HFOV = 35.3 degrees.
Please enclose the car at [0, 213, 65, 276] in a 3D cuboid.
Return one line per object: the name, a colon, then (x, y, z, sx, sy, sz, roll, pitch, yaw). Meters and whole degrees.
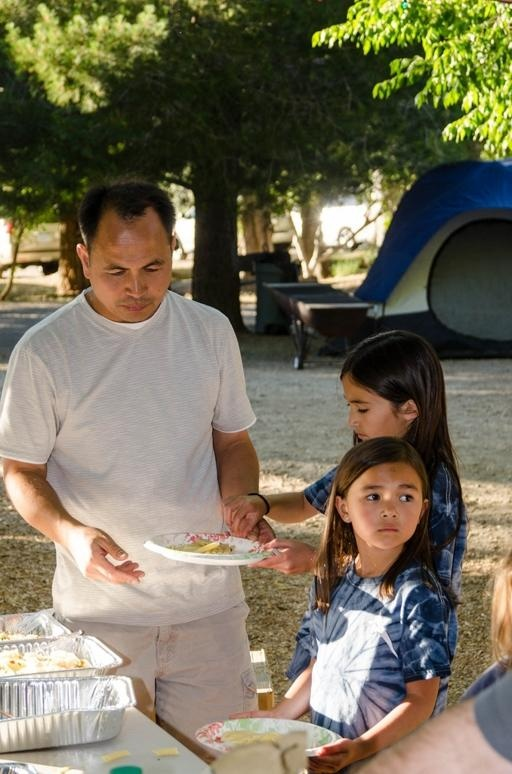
car: (-6.912, -4.014, 23.282, 2.438, 1.909, 3.702, -2, 12, -11)
